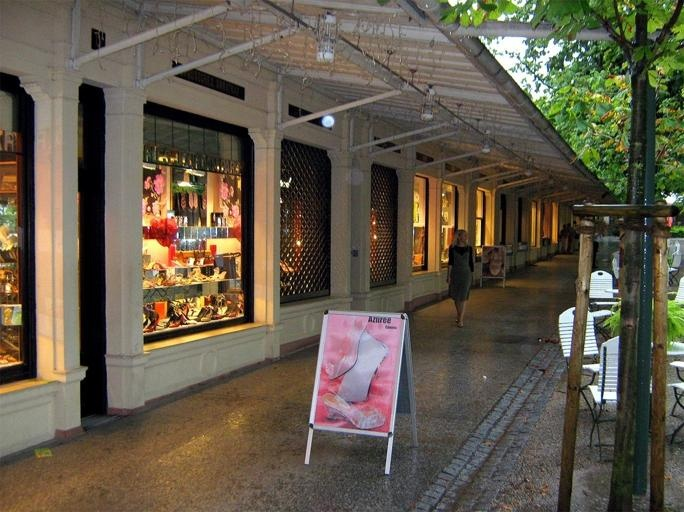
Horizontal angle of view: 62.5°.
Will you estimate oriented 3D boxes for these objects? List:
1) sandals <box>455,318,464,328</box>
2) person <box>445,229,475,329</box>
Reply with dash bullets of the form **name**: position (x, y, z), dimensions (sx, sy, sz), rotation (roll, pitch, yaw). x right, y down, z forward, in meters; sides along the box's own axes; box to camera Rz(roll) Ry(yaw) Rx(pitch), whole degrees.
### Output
- **sandals**: position (2.389, 1.345, 11.447), dimensions (0.090, 0.142, 0.329), rotation (-2, -4, 8)
- **person**: position (2.441, 0.420, 11.641), dimensions (0.461, 1.937, 0.953), rotation (1, 4, 13)
